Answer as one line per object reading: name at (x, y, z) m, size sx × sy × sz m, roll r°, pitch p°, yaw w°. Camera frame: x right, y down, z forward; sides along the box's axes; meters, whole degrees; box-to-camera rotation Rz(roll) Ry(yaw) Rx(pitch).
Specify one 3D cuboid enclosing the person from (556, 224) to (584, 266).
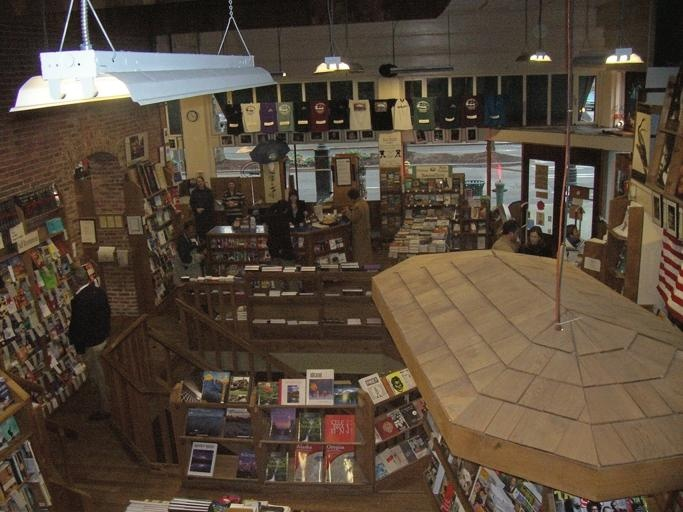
person at (4.567, -0.177, 9.985) m, size 0.499 × 0.938 × 0.556 m, roll 0°, pitch 29°, yaw 13°

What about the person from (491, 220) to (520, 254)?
person at (3.183, -0.369, 9.807) m, size 0.519 × 0.490 × 0.920 m, roll -6°, pitch -5°, yaw 9°

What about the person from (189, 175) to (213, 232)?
person at (-3.398, -1.122, 12.340) m, size 0.552 × 1.795 × 0.512 m, roll 1°, pitch 44°, yaw -6°

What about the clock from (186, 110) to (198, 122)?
clock at (-4.505, -4.215, 15.211) m, size 0.315 × 0.333 × 0.074 m, roll 0°, pitch 5°, yaw 11°

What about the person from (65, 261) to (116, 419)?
person at (-3.682, 1.266, 7.419) m, size 0.590 × 2.253 × 1.202 m, roll -9°, pitch 17°, yaw -19°
